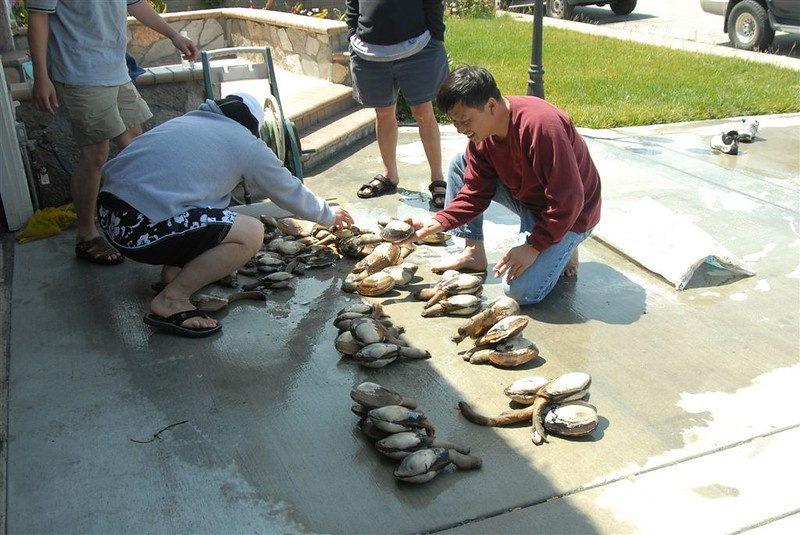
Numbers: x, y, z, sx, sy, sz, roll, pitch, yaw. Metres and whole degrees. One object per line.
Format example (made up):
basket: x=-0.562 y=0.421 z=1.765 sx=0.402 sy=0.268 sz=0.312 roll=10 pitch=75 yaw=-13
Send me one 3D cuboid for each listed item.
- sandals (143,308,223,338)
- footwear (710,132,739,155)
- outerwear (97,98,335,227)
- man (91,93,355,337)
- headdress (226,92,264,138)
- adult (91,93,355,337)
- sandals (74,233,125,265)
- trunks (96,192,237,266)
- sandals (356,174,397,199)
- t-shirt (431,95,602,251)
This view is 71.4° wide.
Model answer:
sandals: x=-1.234 y=0.323 z=3.169 sx=0.350 sy=0.093 sz=0.181 roll=7 pitch=14 yaw=5
footwear: x=3.126 y=-1.178 z=5.293 sx=0.150 sy=0.155 sz=0.380 roll=-7 pitch=25 yaw=-3
outerwear: x=-1.193 y=-0.703 z=3.483 sx=1.167 sy=0.548 sz=1.278 roll=-18 pitch=36 yaw=-40
man: x=-1.105 y=-0.368 z=3.616 sx=1.599 sy=1.334 sz=1.020 roll=-5 pitch=14 yaw=-28
headdress: x=-0.958 y=-0.906 z=3.446 sx=0.323 sy=0.158 sz=0.233 roll=2 pitch=-5 yaw=-21
adult: x=-1.125 y=-0.333 z=3.535 sx=1.080 sy=1.306 sz=1.378 roll=8 pitch=10 yaw=40
sandals: x=-2.062 y=-0.107 z=3.857 sx=0.389 sy=0.140 sz=0.142 roll=14 pitch=39 yaw=14
trunks: x=-1.331 y=-0.183 z=3.129 sx=0.531 sy=0.222 sz=0.504 roll=17 pitch=12 yaw=27
sandals: x=-0.173 y=-0.672 z=4.705 sx=0.341 sy=0.130 sz=0.169 roll=-16 pitch=34 yaw=-28
t-shirt: x=0.806 y=-0.615 z=3.567 sx=1.058 sy=0.839 sz=1.064 roll=-17 pitch=20 yaw=-30
